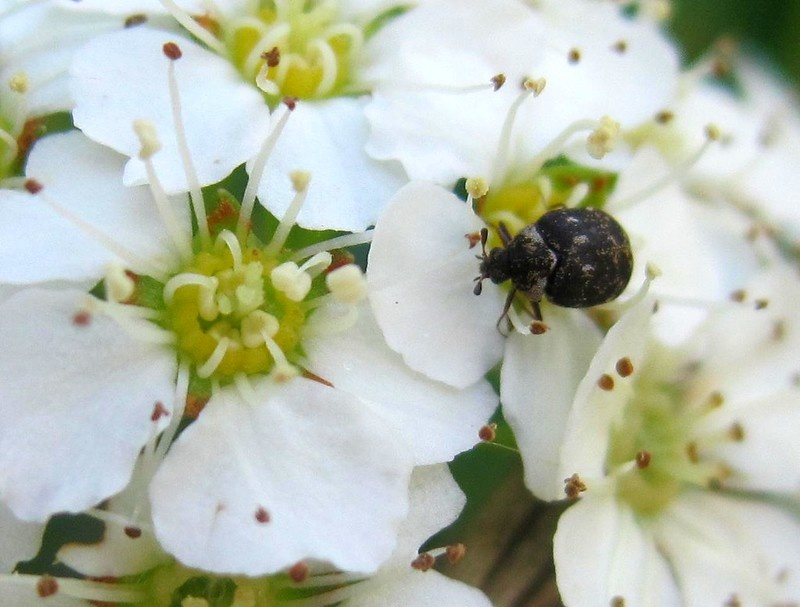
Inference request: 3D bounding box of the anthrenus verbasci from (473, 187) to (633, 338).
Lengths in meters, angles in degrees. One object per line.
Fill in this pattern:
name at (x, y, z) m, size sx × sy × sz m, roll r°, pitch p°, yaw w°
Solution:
anthrenus verbasci at (0.192, -0.032, 1.395) m, size 0.268 × 0.087 × 0.210 m, roll -24°, pitch 13°, yaw 24°
